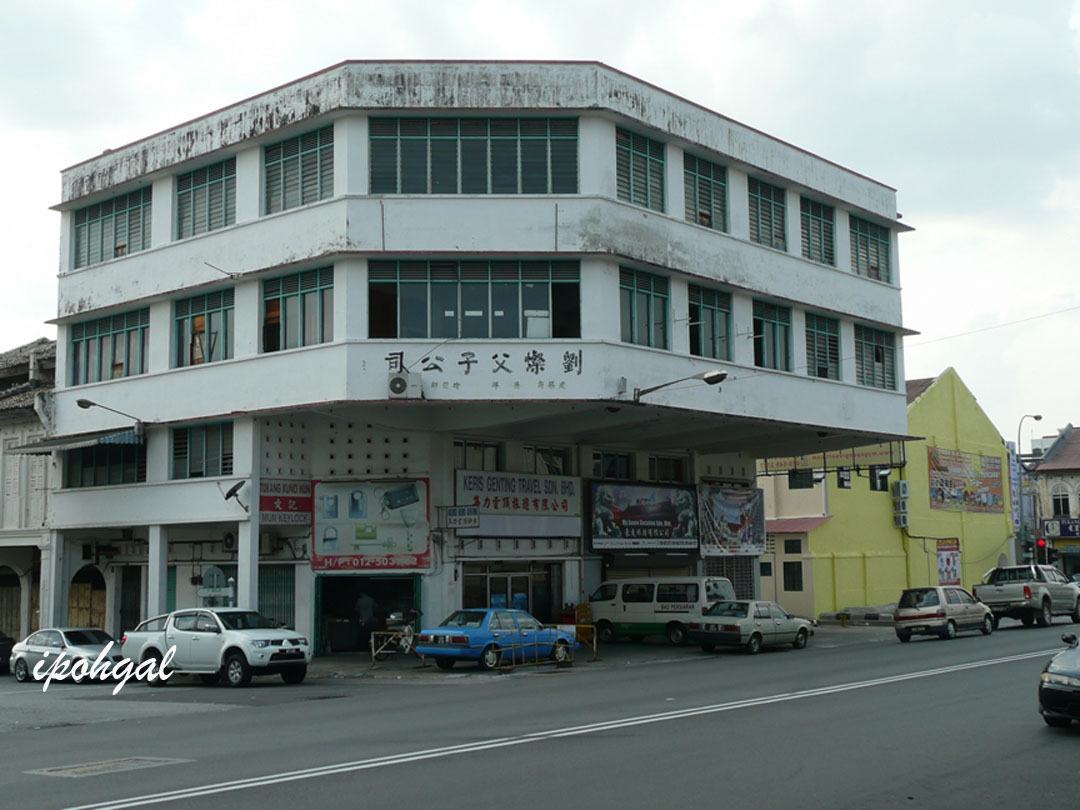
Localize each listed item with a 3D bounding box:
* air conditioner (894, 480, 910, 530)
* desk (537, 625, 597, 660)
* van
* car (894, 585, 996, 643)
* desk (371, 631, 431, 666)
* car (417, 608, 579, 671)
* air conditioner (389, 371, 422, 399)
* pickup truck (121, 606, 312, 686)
[{"bbox_3d":[17.028,4.703,66.558,0.621,2.191,0.891,-10,-12,39],"label":"air conditioner"},{"bbox_3d":[0.657,7.066,42.043,1.460,0.924,1.921,-8,-12,43],"label":"desk"},{"bbox_3d":[4.117,6.911,48.796,4.397,2.087,2.399,-3,-8,33],"label":"van"},{"bbox_3d":[13.533,7.029,47.786,3.577,1.800,1.611,5,-12,-38],"label":"car"},{"bbox_3d":[-4.647,7.560,43.884,0.981,1.300,2.519,3,-6,-35],"label":"desk"},{"bbox_3d":[-1.077,6.732,40.873,4.104,1.449,1.896,4,-8,-41],"label":"car"},{"bbox_3d":[-3.979,-0.558,41.683,1.017,0.826,0.648,1,-10,-5],"label":"air conditioner"},{"bbox_3d":[-8.545,6.473,37.716,4.386,1.758,2.140,-9,-14,31],"label":"pickup truck"}]
